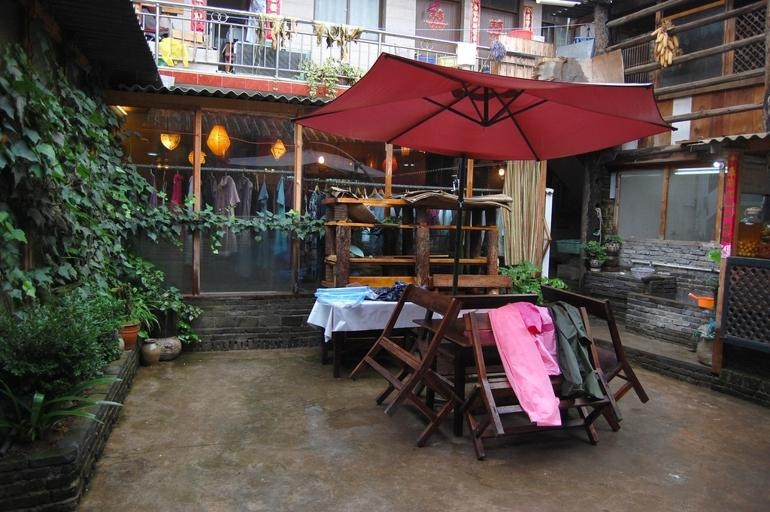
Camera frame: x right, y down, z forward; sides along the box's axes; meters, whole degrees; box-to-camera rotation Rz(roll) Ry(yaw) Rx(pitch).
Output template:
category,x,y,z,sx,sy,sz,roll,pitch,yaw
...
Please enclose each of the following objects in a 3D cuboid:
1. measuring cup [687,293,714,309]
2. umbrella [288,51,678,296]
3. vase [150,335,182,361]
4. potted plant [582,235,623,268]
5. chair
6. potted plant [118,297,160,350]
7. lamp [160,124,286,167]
category,x,y,z,sx,sy,sz,roll,pitch,yaw
measuring cup,5.531,0.829,9.035,0.255,0.240,0.425,-1,6,-8
umbrella,1.192,-0.803,6.261,3.685,2.533,2.201,0,6,-1
vase,-3.351,1.418,7.988,0.355,0.180,0.343,2,4,11
potted plant,5.401,-0.075,13.014,0.869,0.725,0.855,1,-2,-1
chair,1.209,1.254,6.248,2.999,1.766,1.892,2,6,19
potted plant,-3.574,0.937,7.547,0.346,0.740,1.079,-2,6,-12
lamp,-2.480,-1.791,9.255,2.831,0.893,0.668,1,3,-19
